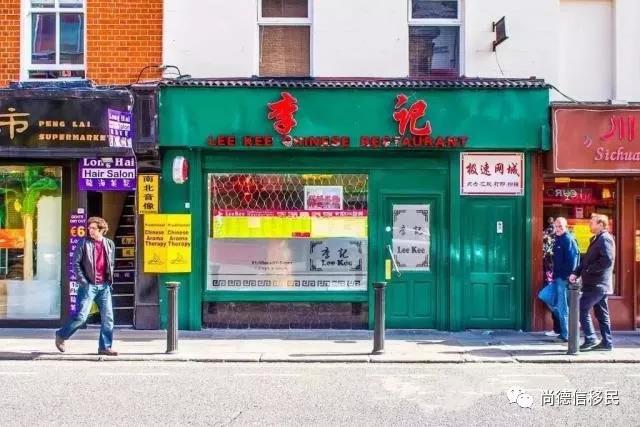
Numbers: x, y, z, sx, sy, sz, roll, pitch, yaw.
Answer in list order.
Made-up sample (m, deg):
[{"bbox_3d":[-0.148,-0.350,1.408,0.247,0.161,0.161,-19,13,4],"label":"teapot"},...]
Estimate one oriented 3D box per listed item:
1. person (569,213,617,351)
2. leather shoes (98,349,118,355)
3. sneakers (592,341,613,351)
[{"bbox_3d":[5.813,1.433,19.941,0.798,2.837,0.488,-1,-3,13],"label":"person"},{"bbox_3d":[-4.331,2.823,19.384,0.410,0.158,0.135,0,-2,-2],"label":"leather shoes"},{"bbox_3d":[5.960,2.780,19.849,0.442,0.160,0.163,-2,-2,1],"label":"sneakers"}]
